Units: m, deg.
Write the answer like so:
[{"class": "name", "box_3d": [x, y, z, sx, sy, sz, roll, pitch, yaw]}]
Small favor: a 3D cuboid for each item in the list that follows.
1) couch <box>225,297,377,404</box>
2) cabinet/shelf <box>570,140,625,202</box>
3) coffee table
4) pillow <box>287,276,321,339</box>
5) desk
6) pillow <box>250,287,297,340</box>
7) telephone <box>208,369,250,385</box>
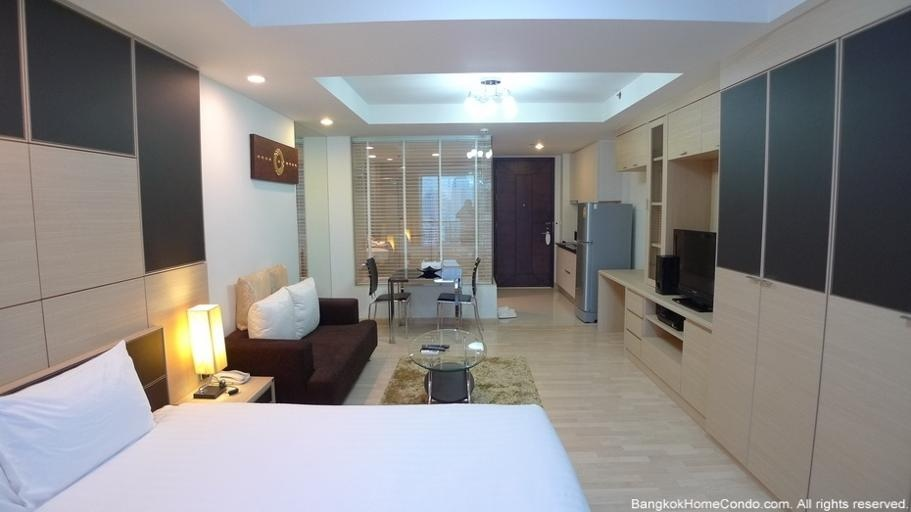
[{"class": "couch", "box_3d": [-1.549, 0.997, 5.412, 1.000, 0.626, 1.616, 0, 7, 1]}, {"class": "cabinet/shelf", "box_3d": [2.161, -1.296, 8.068, 0.315, 0.569, 0.993, 0, 5, -3]}, {"class": "coffee table", "box_3d": [-0.088, 1.083, 5.617, 0.740, 0.394, 0.682, -1, 17, -1]}, {"class": "pillow", "box_3d": [-1.665, 0.588, 5.871, 0.237, 0.534, 0.613, -4, 11, 14]}, {"class": "desk", "box_3d": [-0.547, 0.643, 7.458, 1.051, 0.693, 0.967, 0, 3, 0]}, {"class": "pillow", "box_3d": [-1.849, 0.601, 5.428, 0.226, 0.331, 0.557, -9, 0, 17]}, {"class": "telephone", "box_3d": [-2.052, 1.115, 4.887, 0.201, 0.057, 0.185, 2, 2, -2]}]
